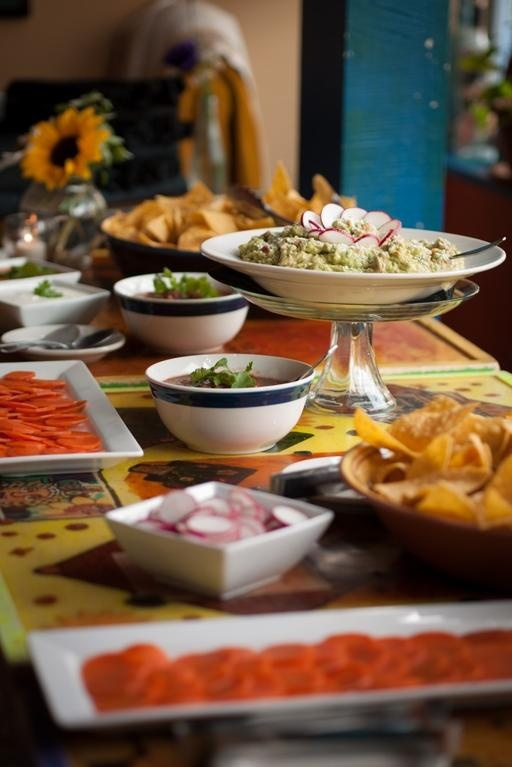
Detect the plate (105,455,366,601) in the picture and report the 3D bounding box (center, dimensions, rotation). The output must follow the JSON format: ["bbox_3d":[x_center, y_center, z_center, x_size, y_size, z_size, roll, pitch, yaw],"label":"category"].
[{"bbox_3d":[-0.030,0.075,0.465,0.176,0.057,0.111,-8,14,-34],"label":"plate"}]
